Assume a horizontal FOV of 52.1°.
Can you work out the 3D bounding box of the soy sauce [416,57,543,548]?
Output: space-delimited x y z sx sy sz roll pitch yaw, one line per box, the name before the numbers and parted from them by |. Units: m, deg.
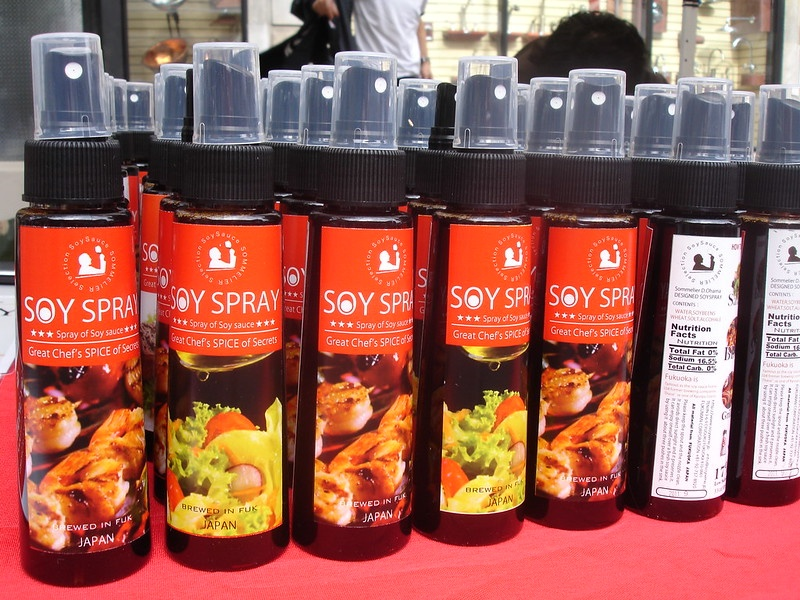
soy sauce | 0.095 0.007 0.845 0.128 0.507 0.130 -4 0 -10
